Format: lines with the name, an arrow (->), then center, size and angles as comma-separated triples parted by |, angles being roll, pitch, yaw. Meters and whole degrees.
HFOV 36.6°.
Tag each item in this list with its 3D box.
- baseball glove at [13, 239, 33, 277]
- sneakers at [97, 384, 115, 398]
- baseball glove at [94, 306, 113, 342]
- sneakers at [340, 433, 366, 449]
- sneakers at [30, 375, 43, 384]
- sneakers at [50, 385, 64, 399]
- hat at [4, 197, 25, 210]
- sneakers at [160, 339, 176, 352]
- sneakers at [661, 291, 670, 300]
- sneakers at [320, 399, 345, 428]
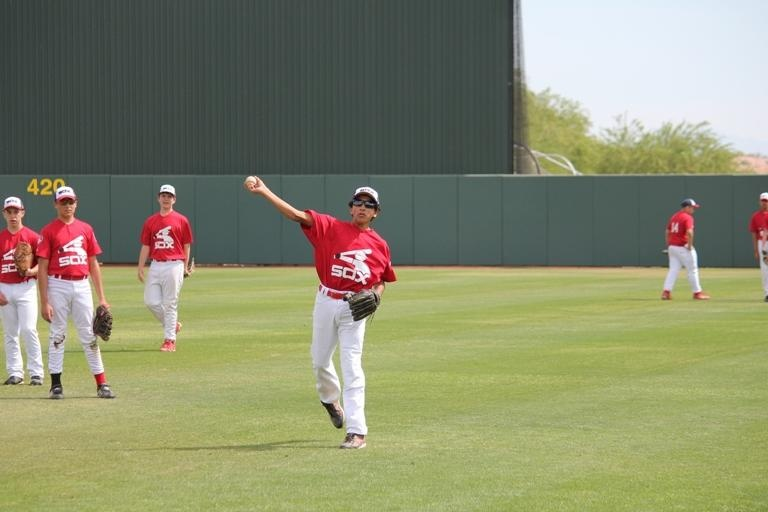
baseball glove -> -6.834, 0.046, 21.904 | 0.397, 0.559, 0.234 | 2, 2, -1
sneakers -> -5.163, 2.508, 21.502 | 0.168, 0.169, 0.418 | 1, -6, -30
baseball glove -> -5.233, 1.254, 21.716 | 0.516, 0.605, 0.325 | -6, 7, -12
sneakers -> -0.521, 3.121, 19.626 | 0.210, 0.176, 0.450 | -8, -13, 39
sneakers -> -6.655, 2.353, 22.172 | 0.169, 0.128, 0.308 | 0, -6, -21
sneakers -> -6.089, 2.496, 21.517 | 0.262, 0.225, 0.301 | -4, 14, -16
hat -> -6.982, -0.969, 21.762 | 0.321, 0.210, 0.240 | -6, 15, -22
sneakers -> -4.616, 1.870, 24.767 | 0.322, 0.244, 0.476 | -3, 13, -10
sneakers -> 7.636, 1.065, 31.153 | 0.258, 0.232, 0.225 | 0, -12, 9
sneakers -> -0.853, 2.759, 20.202 | 0.229, 0.622, 0.259 | -33, -9, 8
